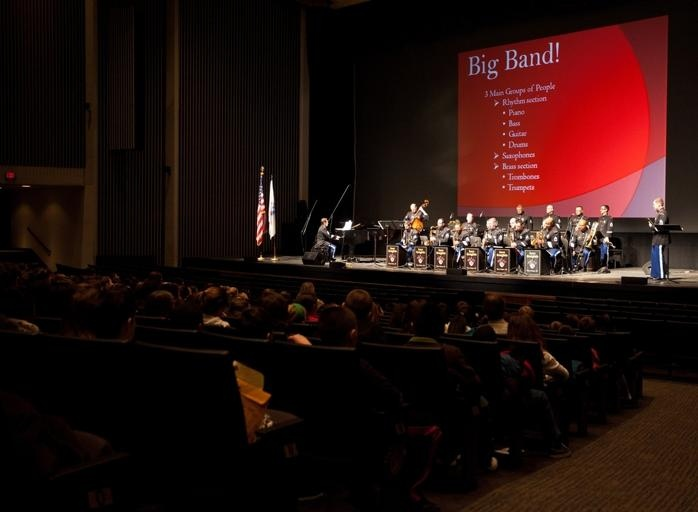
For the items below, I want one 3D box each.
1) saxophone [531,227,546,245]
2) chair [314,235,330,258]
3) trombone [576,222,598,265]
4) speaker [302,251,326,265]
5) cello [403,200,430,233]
[{"bbox_3d":[4.892,-0.469,14.048,0.157,0.533,0.383,7,-34,-3],"label":"saxophone"},{"bbox_3d":[-0.762,-0.274,15.722,0.509,0.329,0.772,2,7,0],"label":"chair"},{"bbox_3d":[6.282,-0.263,14.230,0.322,1.563,0.564,9,-21,14],"label":"trombone"},{"bbox_3d":[-0.872,0.055,14.444,0.378,0.295,0.386,4,9,34],"label":"speaker"},{"bbox_3d":[2.114,-1.206,16.741,0.369,1.085,0.595,24,4,-5],"label":"cello"}]
